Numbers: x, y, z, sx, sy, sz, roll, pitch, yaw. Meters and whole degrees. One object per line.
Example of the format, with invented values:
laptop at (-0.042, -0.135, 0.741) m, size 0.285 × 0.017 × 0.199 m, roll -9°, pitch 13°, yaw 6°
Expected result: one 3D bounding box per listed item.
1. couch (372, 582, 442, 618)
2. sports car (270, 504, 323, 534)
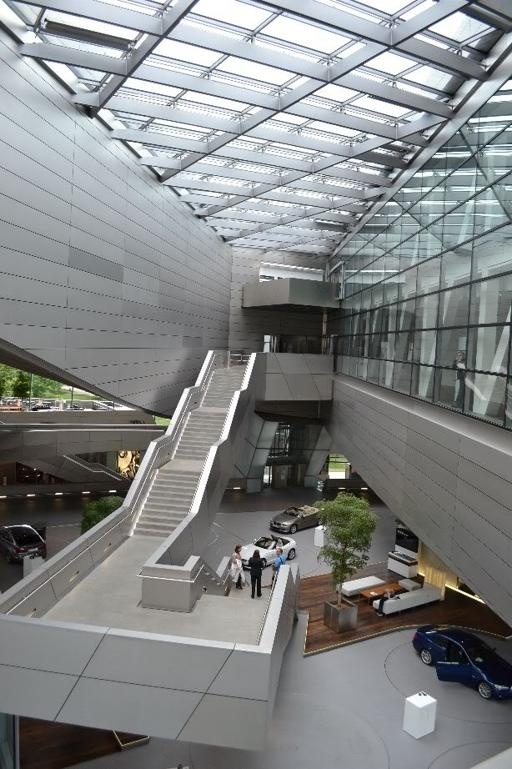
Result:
couch at (4.756, 6.801, 16.355) m, size 2.721 × 0.966 × 0.883 m, roll 3°, pitch 0°, yaw -39°
sports car at (2.027, 6.483, 24.859) m, size 1.586 × 1.252 × 3.581 m, roll 0°, pitch -2°, yaw 39°
